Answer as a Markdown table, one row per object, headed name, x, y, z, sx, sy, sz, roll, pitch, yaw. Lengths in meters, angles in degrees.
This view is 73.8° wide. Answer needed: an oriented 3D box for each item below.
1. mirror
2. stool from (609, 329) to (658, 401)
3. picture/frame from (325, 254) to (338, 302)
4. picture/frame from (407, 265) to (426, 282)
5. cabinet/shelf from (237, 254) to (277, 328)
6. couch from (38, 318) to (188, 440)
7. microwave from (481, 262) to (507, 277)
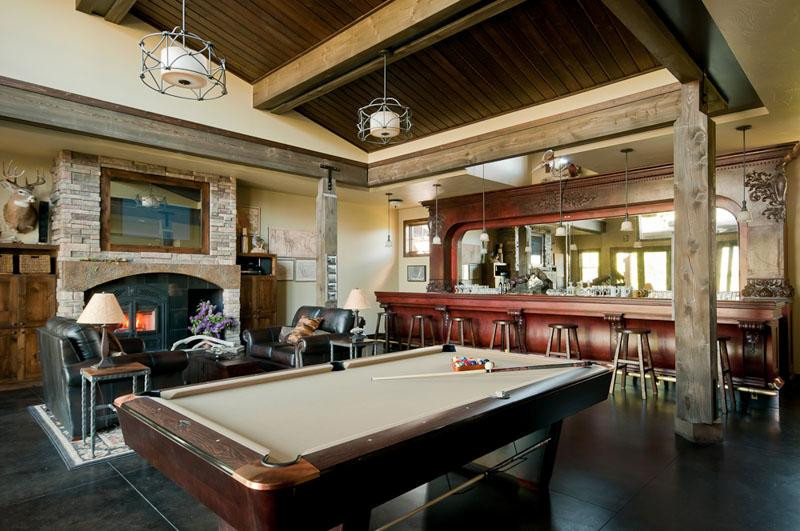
| name | x | y | z | sx | sy | sz | roll | pitch | yaw |
| --- | --- | --- | --- | --- | --- | --- | --- | --- | --- |
| mirror | -4.490 | -1.005 | 9.583 | 1.909 | 1.302 | 0.156 | 1 | -1 | -38 |
| stool | 3.466 | 1.472 | 7.867 | 0.596 | 0.942 | 0.591 | -1 | -2 | 44 |
| picture/frame | -1.279 | 0.257 | 9.874 | 0.213 | 0.939 | 0.351 | -3 | 16 | -11 |
| picture/frame | 0.437 | 0.198 | 13.723 | 0.123 | 0.464 | 0.684 | -15 | 20 | -42 |
| cabinet/shelf | -2.896 | 0.502 | 10.981 | 0.664 | 1.494 | 0.850 | 5 | 1 | 42 |
| couch | -4.167 | 1.339 | 7.121 | 1.863 | 1.357 | 2.482 | 1 | -2 | -37 |
| microwave | 2.510 | 0.106 | 14.377 | 0.451 | 0.551 | 0.675 | -8 | -8 | 44 |
